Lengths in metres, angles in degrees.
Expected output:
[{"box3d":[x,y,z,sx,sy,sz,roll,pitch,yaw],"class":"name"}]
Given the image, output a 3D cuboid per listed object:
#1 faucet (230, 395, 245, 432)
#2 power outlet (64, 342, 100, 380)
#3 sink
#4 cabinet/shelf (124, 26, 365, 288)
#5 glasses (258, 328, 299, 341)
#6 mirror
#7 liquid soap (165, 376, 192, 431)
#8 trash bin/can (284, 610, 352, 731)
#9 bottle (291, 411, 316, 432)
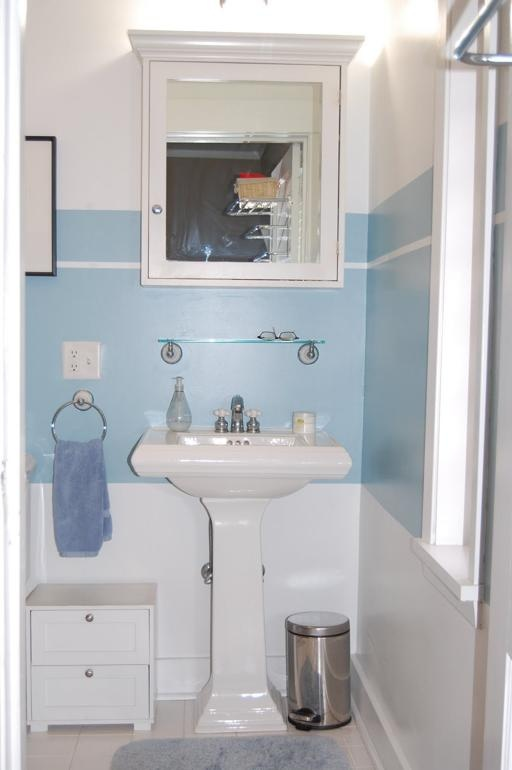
[{"box3d":[-0.053,0.079,1.972,0.037,0.100,0.082,-1,5,-2],"class":"faucet"},{"box3d":[-0.514,-0.076,2.027,0.100,0.109,0.026,-3,5,-5],"class":"power outlet"},{"box3d":[-0.041,0.206,1.795,0.515,0.170,0.403,-1,6,-1],"class":"sink"},{"box3d":[-0.044,-0.574,1.980,0.603,0.763,0.283,0,-12,1],"class":"cabinet/shelf"},{"box3d":[0.067,-0.151,2.045,0.125,0.034,0.077,-1,6,3],"class":"glasses"},{"box3d":[-0.053,-0.559,1.885,0.487,0.638,0.067,1,-14,-2],"class":"mirror"},{"box3d":[-0.221,0.056,1.963,0.061,0.150,0.073,-4,6,-33],"class":"liquid soap"},{"box3d":[0.167,0.791,1.917,0.203,0.344,0.251,-1,-5,7],"class":"trash bin/can"},{"box3d":[0.139,0.103,1.961,0.053,0.053,0.054,1,0,-12],"class":"bottle"}]
